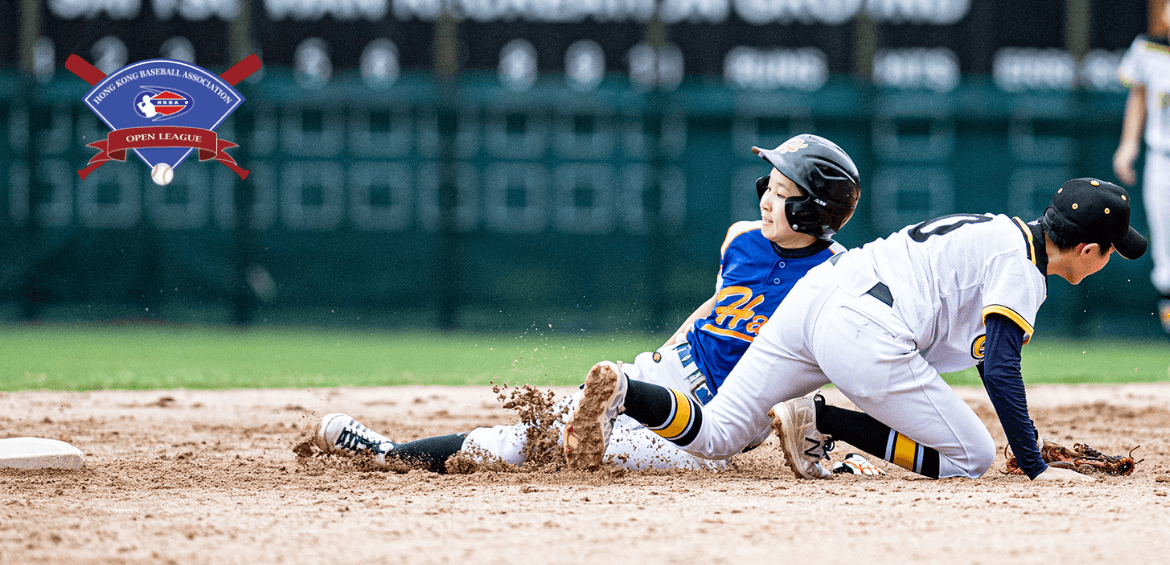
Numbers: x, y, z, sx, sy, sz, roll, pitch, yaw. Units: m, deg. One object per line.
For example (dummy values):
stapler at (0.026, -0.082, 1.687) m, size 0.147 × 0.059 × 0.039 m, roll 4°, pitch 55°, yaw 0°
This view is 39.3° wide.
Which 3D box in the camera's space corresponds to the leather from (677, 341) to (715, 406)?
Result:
leather at (0.983, 0.824, 14.564) m, size 0.458 × 0.171 × 0.347 m, roll 58°, pitch 15°, yaw 8°

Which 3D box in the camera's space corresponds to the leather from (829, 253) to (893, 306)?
leather at (2.432, 0.002, 14.344) m, size 0.544 × 0.128 × 0.404 m, roll 32°, pitch -1°, yaw 20°

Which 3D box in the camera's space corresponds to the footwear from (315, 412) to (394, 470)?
footwear at (-2.094, 1.435, 14.745) m, size 0.746 × 0.350 × 0.278 m, roll 25°, pitch -1°, yaw -1°

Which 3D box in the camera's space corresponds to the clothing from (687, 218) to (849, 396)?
clothing at (1.436, 0.097, 14.523) m, size 1.011 × 1.689 × 0.512 m, roll 28°, pitch -9°, yaw 15°

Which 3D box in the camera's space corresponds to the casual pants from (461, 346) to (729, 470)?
casual pants at (0.128, 1.074, 14.855) m, size 2.380 × 0.865 × 0.978 m, roll 3°, pitch 12°, yaw 1°

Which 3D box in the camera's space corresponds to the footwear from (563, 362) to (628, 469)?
footwear at (0.077, 1.173, 14.321) m, size 0.391 × 1.019 × 0.484 m, roll 26°, pitch 8°, yaw 26°
